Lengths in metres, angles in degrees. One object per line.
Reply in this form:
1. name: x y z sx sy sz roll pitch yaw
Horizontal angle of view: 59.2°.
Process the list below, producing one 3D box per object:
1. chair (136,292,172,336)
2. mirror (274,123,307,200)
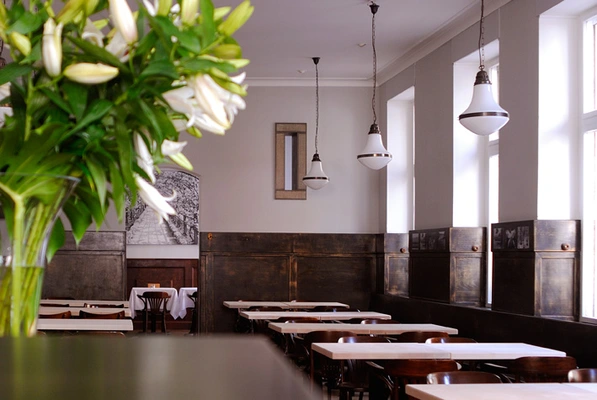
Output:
1. chair: -2.843 2.177 10.289 0.667 0.842 0.718 0 -4 16
2. mirror: -0.133 -0.700 10.004 0.598 1.487 0.180 1 -11 -5
